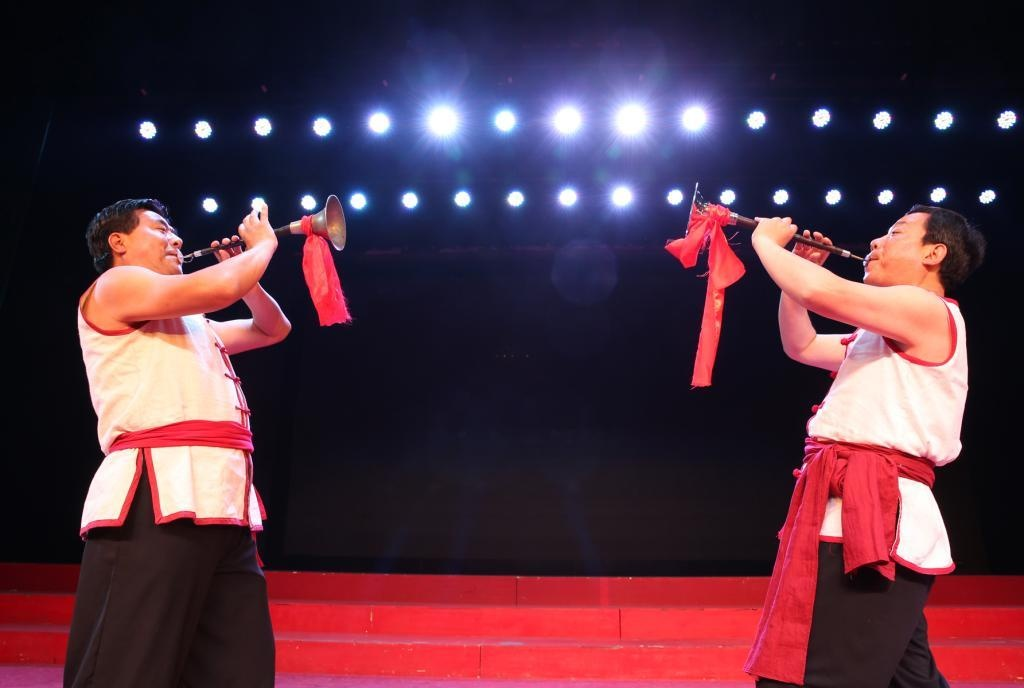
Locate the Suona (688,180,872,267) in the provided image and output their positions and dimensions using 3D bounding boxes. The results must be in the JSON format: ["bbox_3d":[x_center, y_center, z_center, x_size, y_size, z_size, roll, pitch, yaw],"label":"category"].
[{"bbox_3d":[1.516,-0.712,4.854,1.135,0.303,0.348,17,-24,8],"label":"Suona"}]
